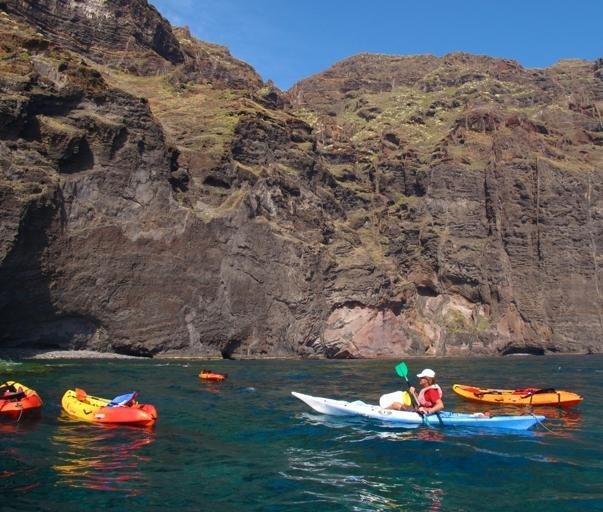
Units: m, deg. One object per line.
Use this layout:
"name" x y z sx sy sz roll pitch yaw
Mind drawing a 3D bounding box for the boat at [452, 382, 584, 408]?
"boat" 14.094 9.485 46.231 6.940 1.185 6.457 5 -9 -36

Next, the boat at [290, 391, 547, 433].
"boat" 7.160 9.586 42.218 13.428 1.576 1.918 1 -14 5

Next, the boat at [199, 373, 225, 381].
"boat" -7.090 9.549 54.817 1.684 0.325 0.719 3 -5 20

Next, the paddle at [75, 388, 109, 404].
"paddle" -13.176 8.753 42.846 3.010 0.491 0.880 7 1 23

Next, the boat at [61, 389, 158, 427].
"boat" -11.786 9.286 41.778 6.281 1.190 2.182 4 -2 21
